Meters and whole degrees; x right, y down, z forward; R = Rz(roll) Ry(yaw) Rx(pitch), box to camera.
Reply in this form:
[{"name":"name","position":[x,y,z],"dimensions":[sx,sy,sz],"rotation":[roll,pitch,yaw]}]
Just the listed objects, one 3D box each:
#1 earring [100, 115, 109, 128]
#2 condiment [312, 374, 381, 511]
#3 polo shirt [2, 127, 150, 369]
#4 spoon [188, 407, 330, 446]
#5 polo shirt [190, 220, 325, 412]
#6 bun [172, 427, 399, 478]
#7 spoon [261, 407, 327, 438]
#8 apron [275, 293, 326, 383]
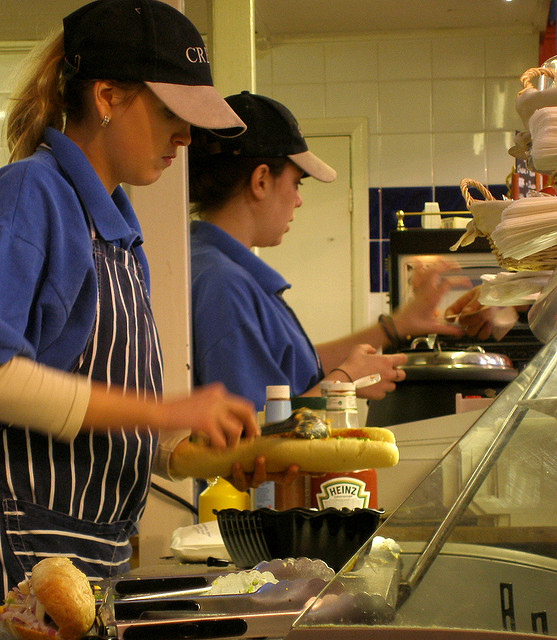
[{"name":"earring","position":[-0.232,-0.263,1.062],"dimensions":[0.012,0.011,0.017],"rotation":[11,-45,-24]},{"name":"condiment","position":[0.094,0.179,1.094],"dimensions":[0.102,0.225,0.093],"rotation":[1,-7,-6]},{"name":"polo shirt","position":[-0.253,-0.088,0.987],"dimensions":[0.159,0.214,0.352],"rotation":[4,0,3]},{"name":"spoon","position":[-0.026,0.172,1.098],"dimensions":[0.175,0.043,0.073],"rotation":[-10,18,6]},{"name":"polo shirt","position":[-0.089,0.025,1.820],"dimensions":[0.336,0.435,0.606],"rotation":[-9,3,3]},{"name":"bun","position":[0.011,0.173,1.047],"dimensions":[0.264,0.089,0.094],"rotation":[0,5,4]},{"name":"spoon","position":[0.019,0.139,1.057],"dimensions":[0.064,0.026,0.040],"rotation":[-19,7,23]},{"name":"apron","position":[0.058,0.040,1.792],"dimensions":[0.105,0.185,0.113],"rotation":[0,7,5]}]
